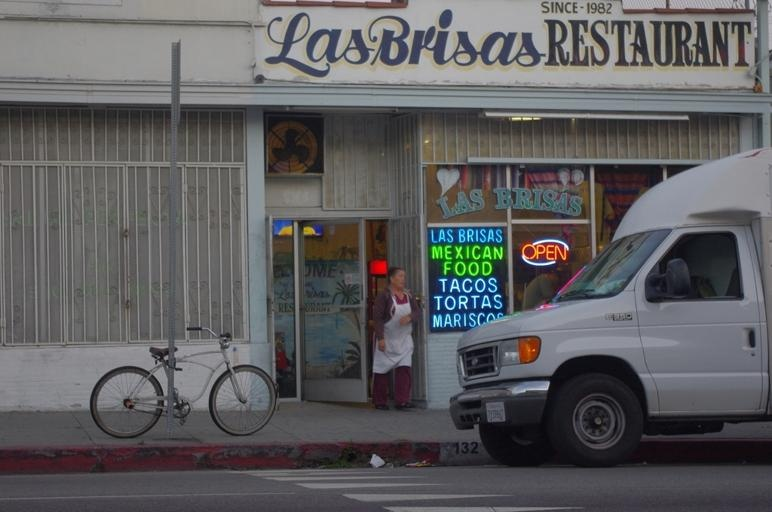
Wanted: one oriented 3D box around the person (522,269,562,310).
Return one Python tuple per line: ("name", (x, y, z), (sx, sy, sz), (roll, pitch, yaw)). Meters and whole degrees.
("person", (2.627, 0.707, 25.224), (0.420, 0.779, 0.453), (17, -4, -9))
